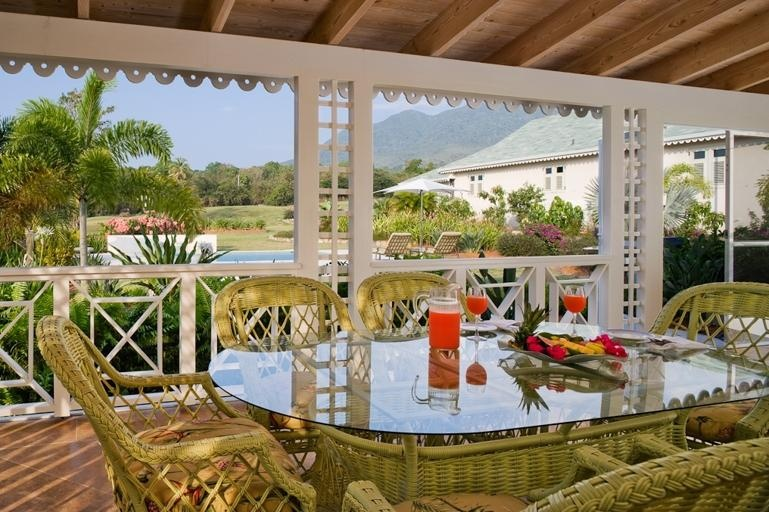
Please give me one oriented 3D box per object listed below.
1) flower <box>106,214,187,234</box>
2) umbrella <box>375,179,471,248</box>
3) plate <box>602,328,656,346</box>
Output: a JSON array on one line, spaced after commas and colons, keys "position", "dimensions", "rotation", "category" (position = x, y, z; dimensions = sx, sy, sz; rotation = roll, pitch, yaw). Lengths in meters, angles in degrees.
[{"position": [-7.230, -0.974, 18.606], "dimensions": [1.419, 0.496, 1.080], "rotation": [1, 0, -11], "category": "flower"}, {"position": [1.528, -1.609, 24.180], "dimensions": [3.099, 2.052, 2.994], "rotation": [2, 3, 30], "category": "umbrella"}, {"position": [1.079, 0.361, 2.713], "dimensions": [0.172, 0.035, 0.152], "rotation": [2, 7, -37], "category": "plate"}]
